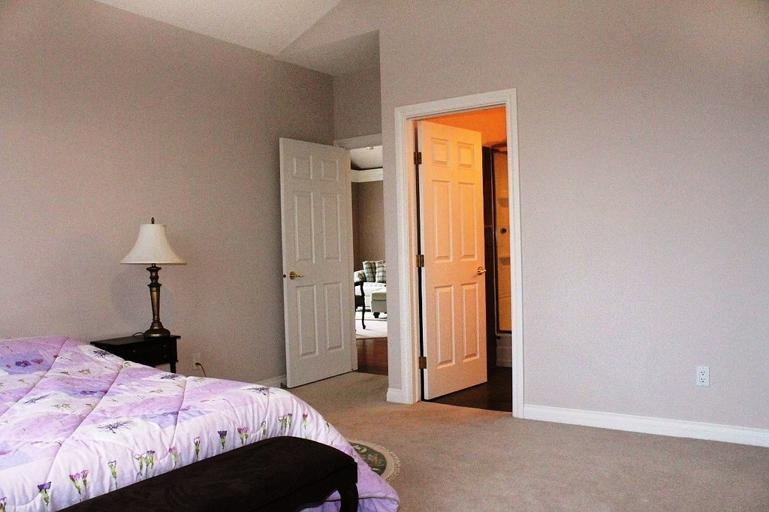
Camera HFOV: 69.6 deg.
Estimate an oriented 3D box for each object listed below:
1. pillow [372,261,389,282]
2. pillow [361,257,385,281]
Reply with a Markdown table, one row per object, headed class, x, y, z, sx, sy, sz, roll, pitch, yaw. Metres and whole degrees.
| class | x | y | z | sx | sy | sz | roll | pitch | yaw |
| --- | --- | --- | --- | --- | --- | --- | --- | --- | --- |
| pillow | -0.058 | 0.296 | 10.273 | 0.317 | 0.331 | 0.084 | -9 | -17 | 38 |
| pillow | -0.204 | 0.256 | 10.483 | 0.381 | 0.440 | 0.162 | -8 | -28 | 8 |
